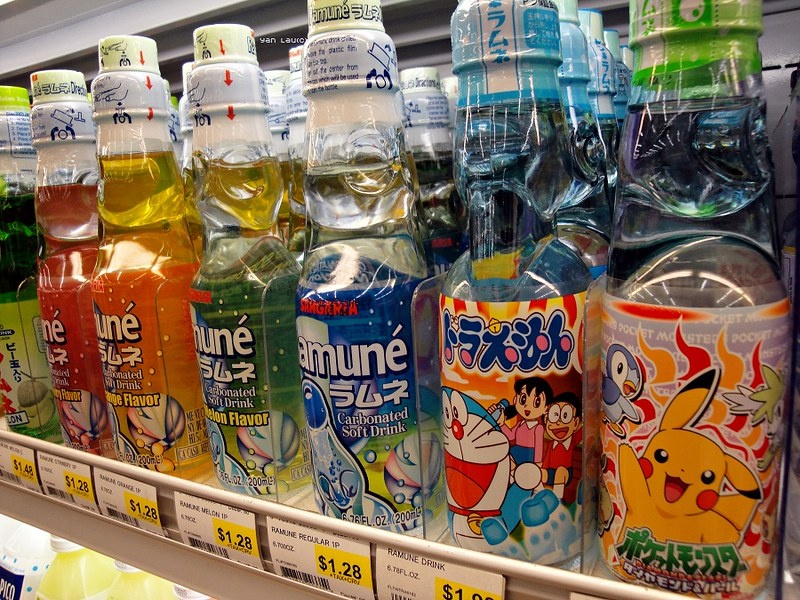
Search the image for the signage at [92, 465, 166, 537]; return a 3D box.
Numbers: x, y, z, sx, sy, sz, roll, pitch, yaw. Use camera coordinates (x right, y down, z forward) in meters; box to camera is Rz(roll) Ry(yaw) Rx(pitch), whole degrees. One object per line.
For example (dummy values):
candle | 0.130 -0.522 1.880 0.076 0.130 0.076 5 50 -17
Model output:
signage | -0.301 0.222 0.669 0.076 0.050 0.011 13 29 32
